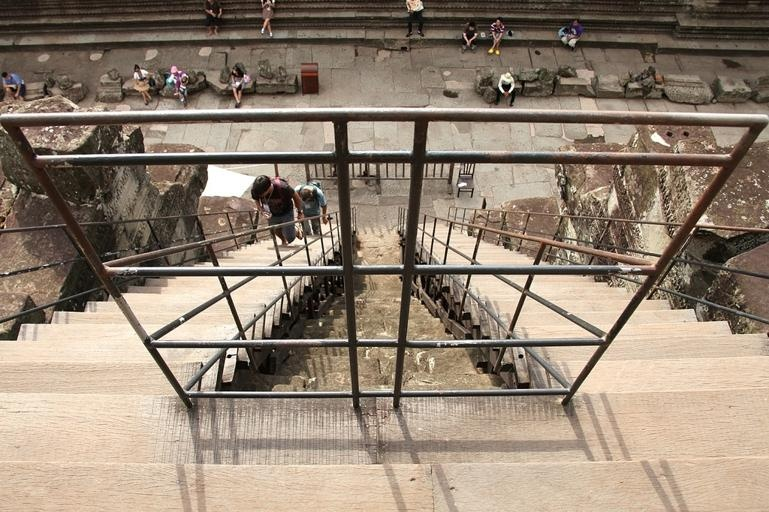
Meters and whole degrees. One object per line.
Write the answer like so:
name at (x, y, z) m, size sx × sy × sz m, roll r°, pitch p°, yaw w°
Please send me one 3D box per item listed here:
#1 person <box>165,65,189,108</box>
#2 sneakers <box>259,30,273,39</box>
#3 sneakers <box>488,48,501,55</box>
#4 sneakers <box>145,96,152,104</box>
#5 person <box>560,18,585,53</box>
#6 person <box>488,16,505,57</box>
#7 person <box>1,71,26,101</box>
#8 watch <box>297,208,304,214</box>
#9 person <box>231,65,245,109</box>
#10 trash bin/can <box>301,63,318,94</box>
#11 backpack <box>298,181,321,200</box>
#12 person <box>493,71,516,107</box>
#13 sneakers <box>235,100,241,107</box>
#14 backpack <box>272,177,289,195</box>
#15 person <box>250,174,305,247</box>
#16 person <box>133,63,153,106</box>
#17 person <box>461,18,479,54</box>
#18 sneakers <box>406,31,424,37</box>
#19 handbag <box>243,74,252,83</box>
person at (-5.115, -4.294, 14.975) m, size 0.606 × 1.064 × 0.703 m, roll 5°, pitch 8°, yaw 3°
sneakers at (-3.150, -6.143, 16.286) m, size 0.475 × 0.133 × 0.195 m, roll 16°, pitch -3°, yaw 2°
sneakers at (3.055, -5.632, 16.208) m, size 0.288 × 0.145 × 0.103 m, roll 13°, pitch 21°, yaw 23°
sneakers at (-5.972, -3.972, 15.004) m, size 0.105 × 0.273 × 0.116 m, roll 0°, pitch -27°, yaw -9°
person at (5.133, -6.073, 16.208) m, size 0.563 × 0.697 × 0.519 m, roll 4°, pitch 10°, yaw 10°
person at (3.125, -6.012, 16.091) m, size 0.466 × 0.968 × 0.890 m, roll 4°, pitch 10°, yaw 11°
person at (-9.108, -4.181, 14.548) m, size 0.452 × 0.630 × 0.483 m, roll -3°, pitch 11°, yaw -27°
watch at (-1.253, -0.684, 8.901) m, size 0.066 × 0.073 × 0.082 m, roll -2°, pitch 15°, yaw 1°
person at (-3.659, -4.339, 14.845) m, size 0.332 × 1.088 × 0.799 m, roll 0°, pitch 10°, yaw -14°
trash bin/can at (-1.853, -4.518, 15.006) m, size 0.510 × 0.740 × 0.658 m, roll 1°, pitch 10°, yaw -8°
backpack at (-1.146, -1.006, 9.102) m, size 0.282 × 0.112 × 0.338 m, roll 11°, pitch -20°, yaw -2°
person at (3.128, -4.247, 14.954) m, size 0.534 × 0.834 × 0.557 m, roll 4°, pitch 10°, yaw 8°
sneakers at (-3.691, -3.853, 14.948) m, size 0.112 × 0.196 × 0.142 m, roll 0°, pitch -27°, yaw -9°
backpack at (-1.501, -1.026, 8.555) m, size 0.222 × 0.201 × 0.182 m, roll -16°, pitch 50°, yaw 3°
person at (-1.561, -0.669, 8.844) m, size 0.693 × 1.060 × 1.202 m, roll 1°, pitch 9°, yaw -7°
person at (-6.025, -4.264, 14.752) m, size 0.401 × 0.869 × 0.890 m, roll -1°, pitch 10°, yaw -20°
person at (2.383, -6.063, 16.063) m, size 0.433 × 0.818 × 0.569 m, roll 3°, pitch 10°, yaw 6°
sneakers at (0.892, -6.160, 16.381) m, size 0.631 × 0.159 × 0.208 m, roll 1°, pitch 41°, yaw 2°
handbag at (-3.433, -4.457, 14.768) m, size 0.069 × 0.214 × 0.242 m, roll -1°, pitch 27°, yaw 24°
